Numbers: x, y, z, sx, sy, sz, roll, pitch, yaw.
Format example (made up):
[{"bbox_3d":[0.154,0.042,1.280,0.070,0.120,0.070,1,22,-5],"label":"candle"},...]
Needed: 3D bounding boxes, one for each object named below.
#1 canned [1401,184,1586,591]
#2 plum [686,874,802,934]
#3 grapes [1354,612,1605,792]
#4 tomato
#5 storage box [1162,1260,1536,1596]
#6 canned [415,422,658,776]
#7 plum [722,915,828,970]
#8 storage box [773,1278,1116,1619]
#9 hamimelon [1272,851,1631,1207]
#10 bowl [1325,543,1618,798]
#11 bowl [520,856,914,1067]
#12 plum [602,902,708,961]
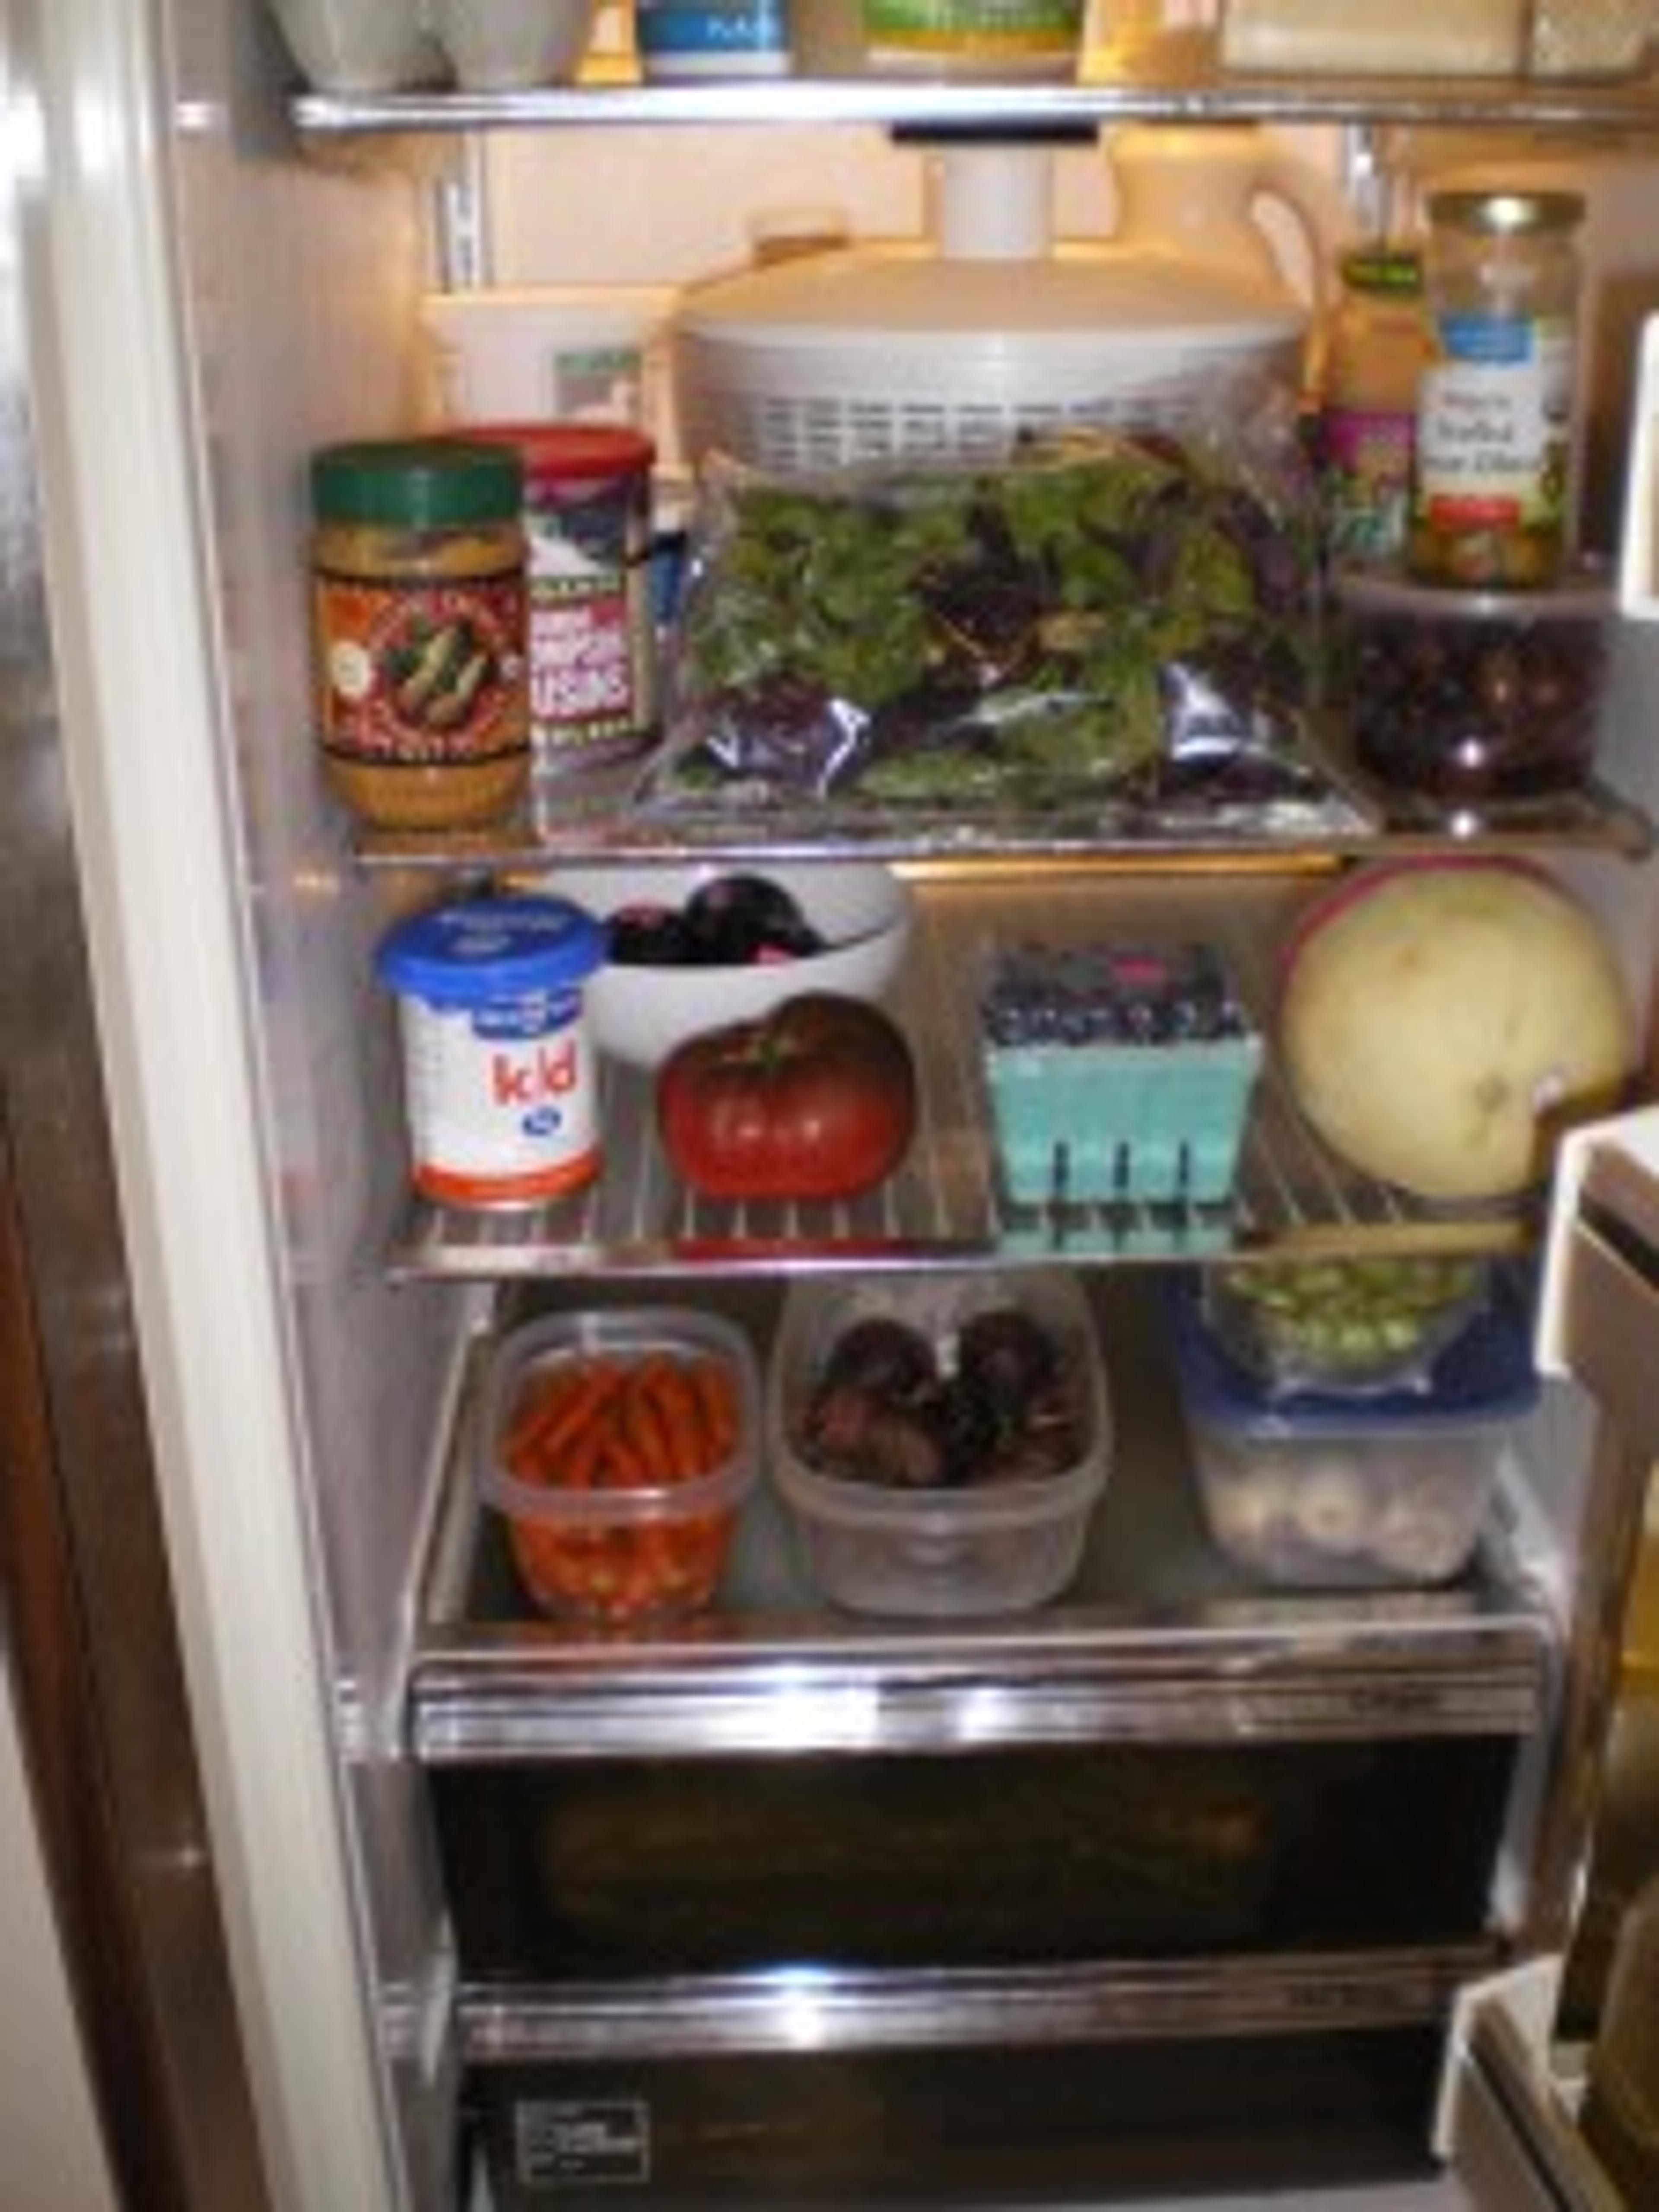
[{"bbox_3d":[0.350,-0.368,0.926,0.084,0.179,0.069,5,26,17],"label":"canned"},{"bbox_3d":[-0.063,-0.150,1.260,0.056,0.032,0.043,3,23,-3],"label":"plum"},{"bbox_3d":[0.364,-0.226,0.976,0.112,0.072,0.112,-3,21,-1],"label":"grapes"},{"bbox_3d":[-0.030,-0.003,1.132,0.161,0.095,0.119,-9,26,-13],"label":"tomato"},{"bbox_3d":[0.347,0.249,1.338,0.253,0.203,0.271,2,27,4],"label":"storage box"},{"bbox_3d":[-0.134,-0.311,1.048,0.171,0.185,0.170,-12,26,-23],"label":"canned"},{"bbox_3d":[-0.042,-0.115,1.225,0.035,0.025,0.045,-1,6,29],"label":"plum"},{"bbox_3d":[0.083,0.239,1.342,0.246,0.120,0.335,0,25,3],"label":"storage box"},{"bbox_3d":[0.384,-0.041,1.080,0.212,0.201,0.143,3,26,14],"label":"hamimelon"},{"bbox_3d":[0.367,-0.251,1.023,0.155,0.124,0.146,-3,25,1],"label":"bowl"},{"bbox_3d":[-0.058,-0.109,1.310,0.195,0.087,0.195,-1,21,1],"label":"bowl"},{"bbox_3d":[-0.123,-0.122,1.234,0.045,0.024,0.045,-2,50,2],"label":"plum"}]
